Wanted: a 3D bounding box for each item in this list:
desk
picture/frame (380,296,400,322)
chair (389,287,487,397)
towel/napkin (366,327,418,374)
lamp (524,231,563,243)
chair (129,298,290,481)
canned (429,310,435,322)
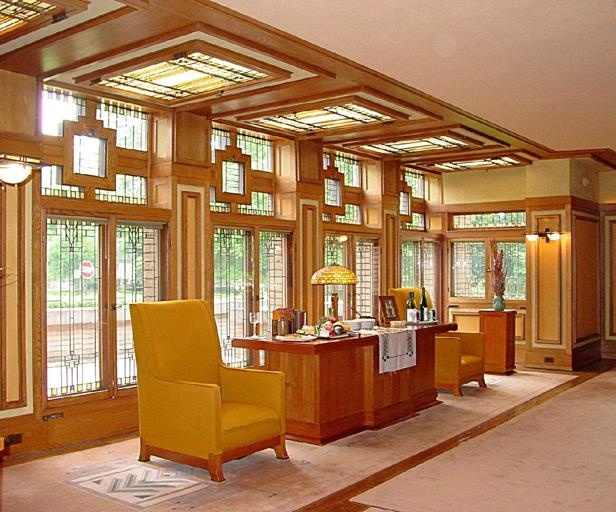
[{"bbox_3d":[0.570,1.364,5.893,1.063,0.921,3.001,-4,-5,39],"label":"desk"},{"bbox_3d":[1.042,0.662,6.412,0.031,0.286,0.459,-24,-12,28],"label":"picture/frame"},{"bbox_3d":[1.936,1.226,7.482,1.066,1.301,1.162,1,-4,35],"label":"chair"},{"bbox_3d":[0.822,0.981,5.658,0.813,0.471,0.481,2,-5,-43],"label":"towel/napkin"},{"bbox_3d":[4.316,-0.350,9.323,0.590,0.193,0.197,-1,-4,22],"label":"lamp"},{"bbox_3d":[-0.835,1.066,4.299,1.029,1.358,0.828,-2,-4,30],"label":"chair"},{"bbox_3d":[1.611,0.772,6.606,0.065,0.135,0.131,0,-3,3],"label":"canned"}]
